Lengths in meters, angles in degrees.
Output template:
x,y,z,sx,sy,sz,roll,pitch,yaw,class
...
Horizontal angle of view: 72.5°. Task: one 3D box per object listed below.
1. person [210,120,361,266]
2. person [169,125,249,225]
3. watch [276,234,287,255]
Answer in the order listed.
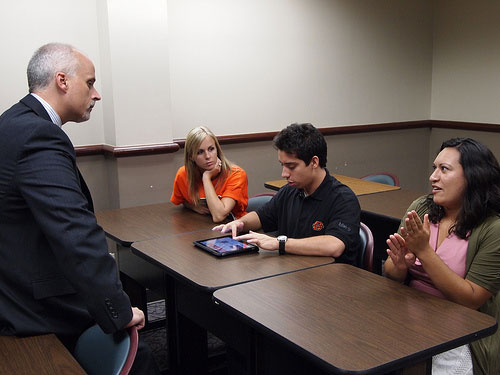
x,y,z,sx,sy,sz,roll,pitch,yaw,class
0.233,0.136,1.900,0.592,0.969,0.648,-1,17,-34,person
-0.298,-0.067,2.607,0.650,0.891,0.610,-4,8,1,person
0.165,0.295,1.801,0.048,0.089,0.080,1,14,10,watch
